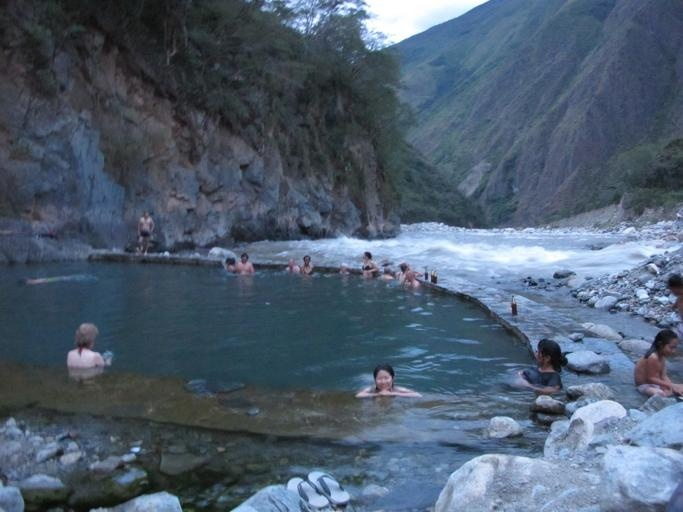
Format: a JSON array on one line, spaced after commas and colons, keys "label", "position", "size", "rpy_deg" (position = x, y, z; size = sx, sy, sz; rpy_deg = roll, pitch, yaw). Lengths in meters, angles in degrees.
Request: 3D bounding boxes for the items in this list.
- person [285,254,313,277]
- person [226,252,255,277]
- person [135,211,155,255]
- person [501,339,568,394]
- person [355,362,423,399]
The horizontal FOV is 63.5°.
[{"label": "person", "position": [-1.250, 0.370, 17.247], "size": [0.954, 0.599, 0.454], "rpy_deg": [1, 6, 37]}, {"label": "person", "position": [-3.071, 0.358, 16.837], "size": [0.963, 0.872, 0.580], "rpy_deg": [-2, -9, 24]}, {"label": "person", "position": [-7.288, -0.899, 20.460], "size": [0.632, 1.487, 1.520], "rpy_deg": [-1, 4, -19]}, {"label": "person", "position": [2.873, 1.720, 8.081], "size": [0.623, 1.046, 0.705], "rpy_deg": [10, 3, 11]}, {"label": "person", "position": [0.657, 1.715, 7.734], "size": [0.891, 0.421, 0.465], "rpy_deg": [0, 3, 0]}]
